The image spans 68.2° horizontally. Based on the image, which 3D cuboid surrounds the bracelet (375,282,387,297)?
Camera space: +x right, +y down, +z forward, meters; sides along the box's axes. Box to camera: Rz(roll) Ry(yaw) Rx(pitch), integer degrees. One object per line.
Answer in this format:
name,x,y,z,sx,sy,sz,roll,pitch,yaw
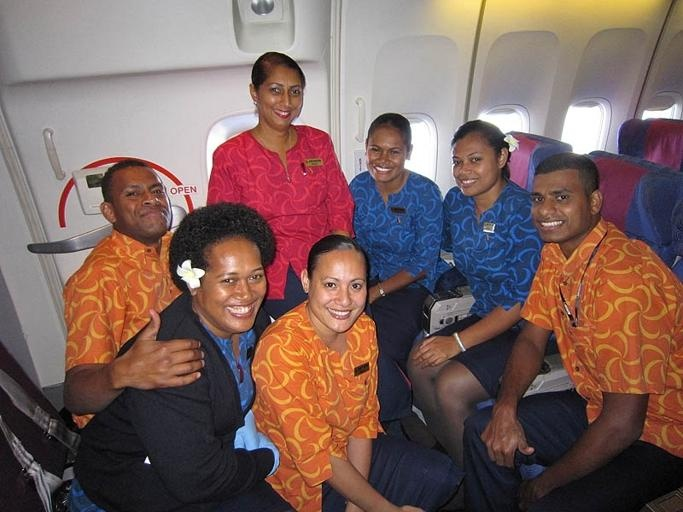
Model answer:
bracelet,0.265,0.235,3.497,0.023,0.078,0.082,-15,36,-20
